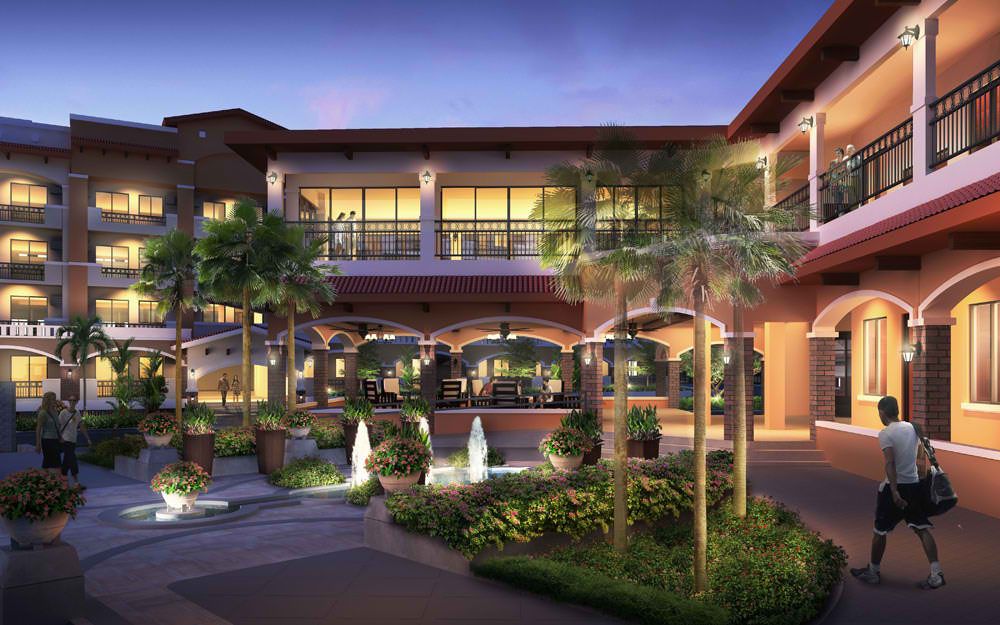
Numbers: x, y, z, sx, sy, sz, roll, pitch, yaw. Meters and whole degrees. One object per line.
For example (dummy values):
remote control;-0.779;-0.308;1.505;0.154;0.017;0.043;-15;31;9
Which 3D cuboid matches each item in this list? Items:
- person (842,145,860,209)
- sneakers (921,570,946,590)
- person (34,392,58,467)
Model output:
person;10.941;-4.203;24.672;0.563;1.809;0.441;4;14;15
sneakers;9.134;5.633;16.818;0.301;0.228;0.534;16;-31;-34
person;-12.843;3.265;22.570;0.654;2.172;0.914;-8;13;-30
